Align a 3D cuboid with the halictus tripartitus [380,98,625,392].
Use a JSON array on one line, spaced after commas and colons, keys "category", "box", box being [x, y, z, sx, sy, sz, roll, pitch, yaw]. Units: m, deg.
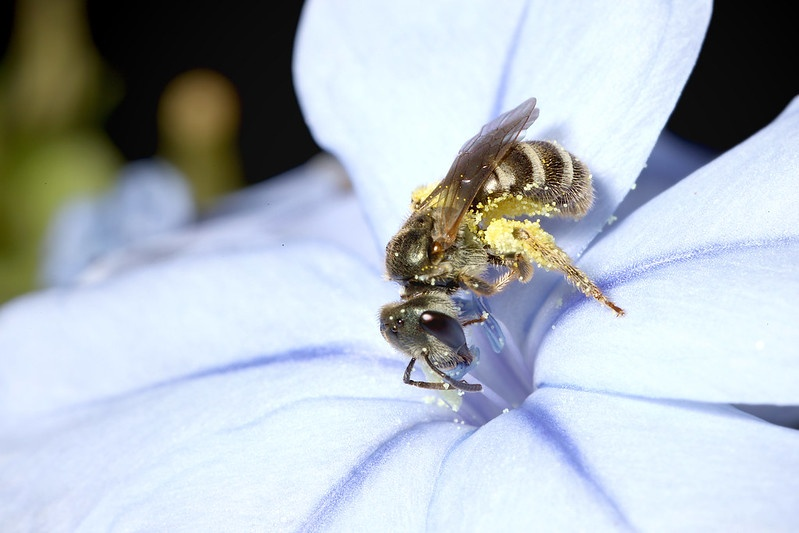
[{"category": "halictus tripartitus", "box": [0.146, -0.016, 1.027, 0.118, 0.263, 0.388, 17, 95, -27]}]
